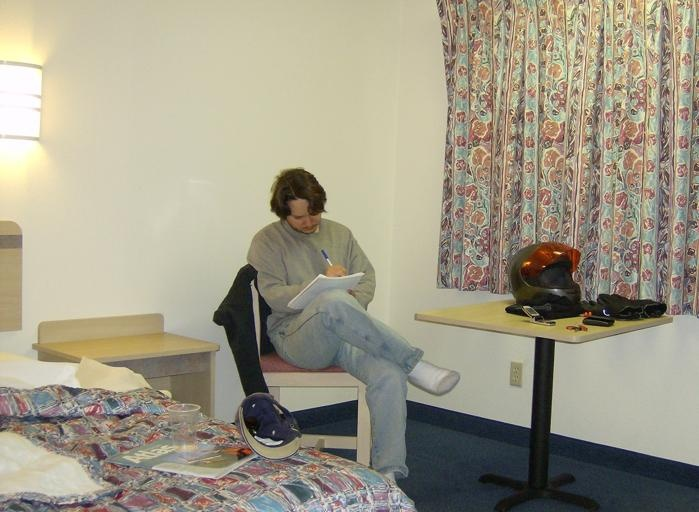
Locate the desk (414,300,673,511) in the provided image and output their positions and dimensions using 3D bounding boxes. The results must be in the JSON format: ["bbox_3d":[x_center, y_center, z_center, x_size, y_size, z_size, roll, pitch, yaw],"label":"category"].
[{"bbox_3d":[0.815,0.598,2.717,1.026,0.949,1.000,-5,10,-44],"label":"desk"}]

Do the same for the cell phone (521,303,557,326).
[{"bbox_3d":[0.802,0.255,2.380,0.053,0.056,0.145,-5,-4,-24],"label":"cell phone"}]

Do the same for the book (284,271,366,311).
[{"bbox_3d":[-0.082,0.163,2.610,0.338,0.032,0.365,1,-33,-5],"label":"book"}]

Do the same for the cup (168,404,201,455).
[{"bbox_3d":[-0.459,0.491,1.592,0.096,0.135,0.104,-1,0,0],"label":"cup"}]

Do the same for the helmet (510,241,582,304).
[{"bbox_3d":[0.934,0.082,2.710,0.274,0.299,0.370,-5,5,-33],"label":"helmet"}]

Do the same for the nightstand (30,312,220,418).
[{"bbox_3d":[-1.052,0.574,2.654,0.468,0.488,0.653,9,6,41],"label":"nightstand"}]

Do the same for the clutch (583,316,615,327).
[{"bbox_3d":[1.053,0.277,2.378,0.123,0.035,0.148,10,5,17],"label":"clutch"}]

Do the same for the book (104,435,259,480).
[{"bbox_3d":[-0.447,0.549,1.540,0.363,0.058,0.183,9,5,13],"label":"book"}]
